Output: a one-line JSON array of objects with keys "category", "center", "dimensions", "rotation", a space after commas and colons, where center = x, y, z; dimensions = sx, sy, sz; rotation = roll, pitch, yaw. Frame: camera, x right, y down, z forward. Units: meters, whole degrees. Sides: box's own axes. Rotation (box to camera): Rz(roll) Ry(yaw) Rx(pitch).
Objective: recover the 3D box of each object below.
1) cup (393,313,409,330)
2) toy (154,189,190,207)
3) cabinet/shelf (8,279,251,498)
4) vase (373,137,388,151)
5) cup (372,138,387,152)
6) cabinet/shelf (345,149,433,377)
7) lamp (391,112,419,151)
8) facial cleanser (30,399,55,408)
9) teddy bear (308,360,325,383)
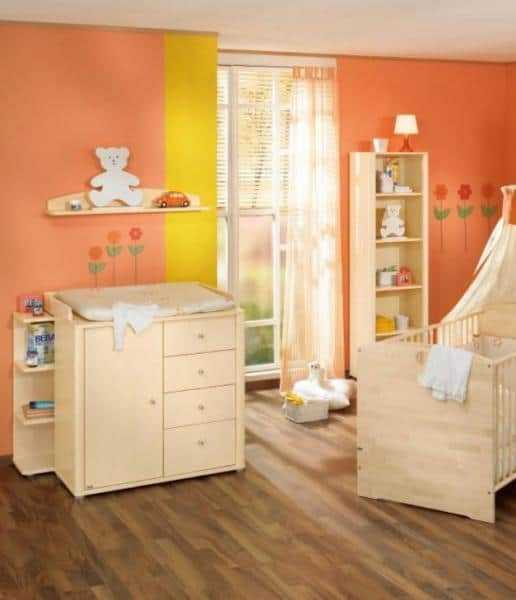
[{"category": "cup", "center": [1.128, 0.171, 4.665], "dimensions": [0.118, 0.087, 0.131], "rotation": [0, 0, -10]}, {"category": "toy", "center": [-0.497, -0.590, 3.397], "dimensions": [0.196, 0.080, 0.098], "rotation": [-2, 8, -21]}, {"category": "cabinet/shelf", "center": [-0.699, 0.416, 3.133], "dimensions": [1.029, 0.984, 0.774], "rotation": [-3, 4, -29]}, {"category": "vase", "center": [0.919, -1.173, 4.452], "dimensions": [0.128, 0.085, 0.123], "rotation": [0, 4, 5]}, {"category": "cup", "center": [0.916, -1.161, 4.459], "dimensions": [0.133, 0.086, 0.126], "rotation": [0, 3, 0]}, {"category": "cabinet/shelf", "center": [1.055, -0.545, 4.534], "dimensions": [0.529, 1.556, 0.275], "rotation": [0, 3, 11]}, {"category": "lamp", "center": [1.125, -1.281, 4.525], "dimensions": [0.296, 0.261, 0.270], "rotation": [2, 12, 17]}, {"category": "facial cleanser", "center": [-1.158, 0.553, 3.156], "dimensions": [0.076, 0.021, 0.075], "rotation": [0, 3, -41]}, {"category": "teddy bear", "center": [0.407, 0.515, 4.194], "dimensions": [0.110, 0.149, 0.092], "rotation": [-1, 3, 1]}]
